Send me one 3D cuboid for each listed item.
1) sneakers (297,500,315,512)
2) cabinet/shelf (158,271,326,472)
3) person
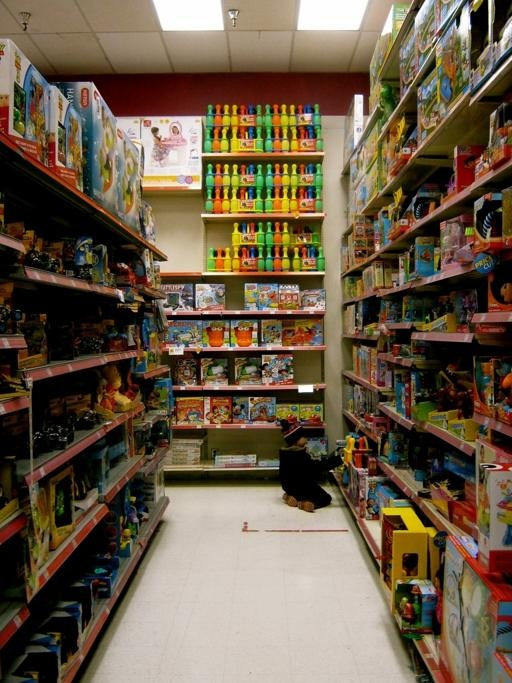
[{"bbox_3d":[0.370,1.228,3.957,0.140,0.066,0.076,-1,0,28],"label":"sneakers"},{"bbox_3d":[-0.150,0.296,4.762,1.698,1.696,0.516,0,4,0],"label":"cabinet/shelf"},{"bbox_3d":[0.330,0.945,4.342,0.544,0.824,0.577,-3,0,-30],"label":"person"}]
